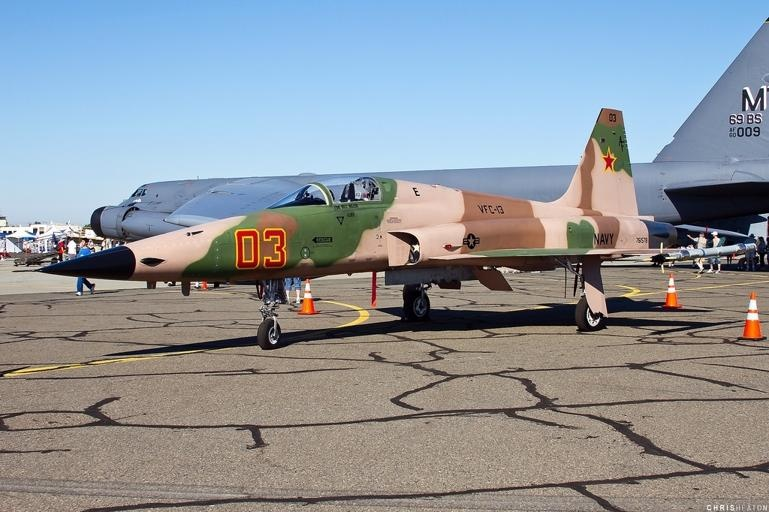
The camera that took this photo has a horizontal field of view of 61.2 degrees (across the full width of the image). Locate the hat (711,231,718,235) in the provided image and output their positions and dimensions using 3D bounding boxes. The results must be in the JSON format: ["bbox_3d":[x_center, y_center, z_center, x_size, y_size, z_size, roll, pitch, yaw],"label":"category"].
[{"bbox_3d":[14.909,-1.010,29.171,0.319,0.103,0.281,-2,-4,3],"label":"hat"}]

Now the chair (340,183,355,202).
[{"bbox_3d":[-0.699,-1.230,12.550,0.303,0.348,0.470,-1,8,-1],"label":"chair"}]

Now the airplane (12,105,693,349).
[{"bbox_3d":[0.315,-0.431,13.429,10.658,1.923,7.859,-3,3,-33],"label":"airplane"}]

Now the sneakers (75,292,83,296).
[{"bbox_3d":[-10.271,1.269,21.767,0.449,0.104,0.142,5,5,37],"label":"sneakers"}]
